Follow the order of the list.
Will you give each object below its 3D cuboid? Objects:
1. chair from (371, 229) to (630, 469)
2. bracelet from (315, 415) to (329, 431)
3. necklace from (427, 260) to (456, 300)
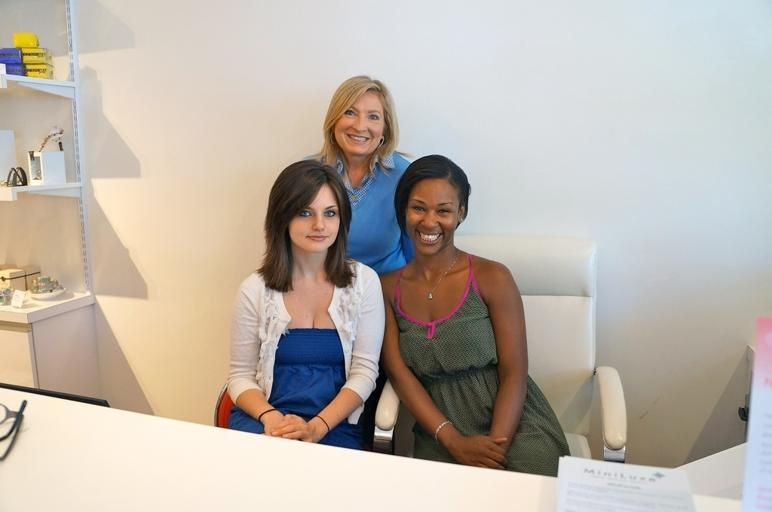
[{"bbox_3d":[0.303,0.340,2.449,0.867,1.206,0.993,0,3,7],"label":"chair"},{"bbox_3d":[-0.233,0.592,2.010,0.034,0.050,0.049,-16,42,-26],"label":"bracelet"},{"bbox_3d":[0.221,0.093,2.160,0.024,0.170,0.025,36,8,12],"label":"necklace"}]
